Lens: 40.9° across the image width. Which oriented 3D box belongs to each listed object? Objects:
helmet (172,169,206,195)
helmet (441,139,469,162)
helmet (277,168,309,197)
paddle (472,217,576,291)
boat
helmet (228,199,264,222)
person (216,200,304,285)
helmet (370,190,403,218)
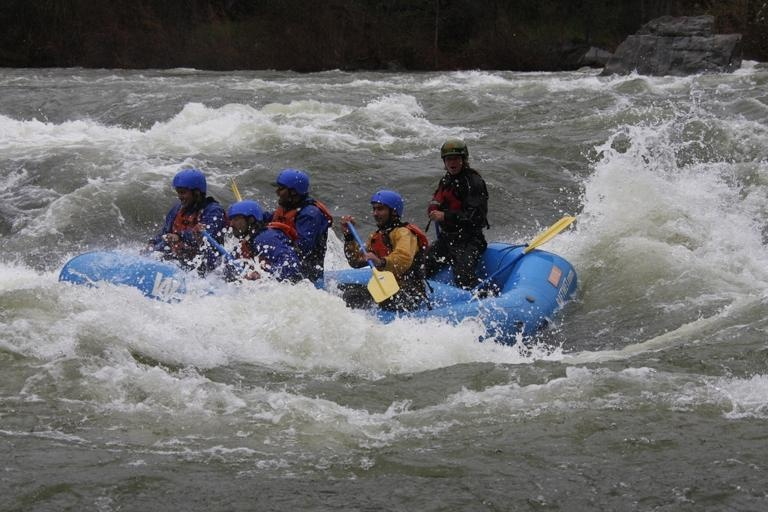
[{"bbox_3d":[-2.825,-1.114,15.062,0.465,0.308,0.328,-18,26,-25],"label":"helmet"},{"bbox_3d":[1.029,-1.568,15.172,0.387,0.278,0.326,-4,28,-8],"label":"helmet"},{"bbox_3d":[-1.252,-1.055,14.637,0.498,0.250,0.334,6,17,-17],"label":"helmet"},{"bbox_3d":[2.111,0.008,15.510,2.268,0.298,0.290,-26,56,-28],"label":"paddle"},{"bbox_3d":[-0.534,0.456,14.322,5.249,0.798,2.441,1,5,-6],"label":"boat"},{"bbox_3d":[-1.957,-0.650,14.491,0.455,0.183,0.283,-1,-7,-10],"label":"helmet"},{"bbox_3d":[-1.723,-0.159,14.226,0.843,0.943,1.233,-18,32,-29],"label":"person"},{"bbox_3d":[0.072,-0.762,14.670,0.507,0.311,0.353,-8,13,-21],"label":"helmet"}]
